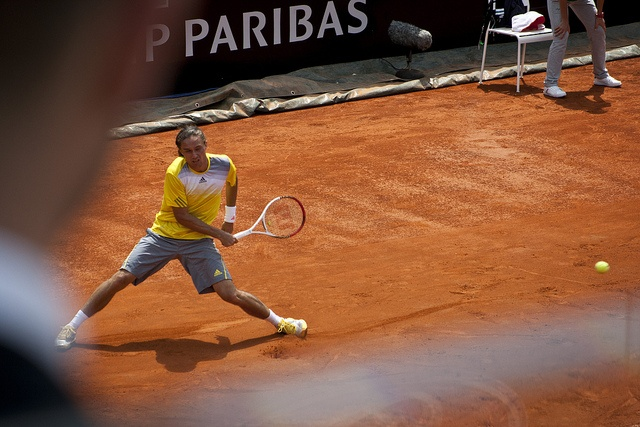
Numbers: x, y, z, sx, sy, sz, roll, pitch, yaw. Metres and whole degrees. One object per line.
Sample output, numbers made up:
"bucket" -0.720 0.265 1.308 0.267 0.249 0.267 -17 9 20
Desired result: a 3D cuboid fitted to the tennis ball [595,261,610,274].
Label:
"tennis ball" 3.361 0.629 7.390 0.177 0.136 0.141 -16 14 1
